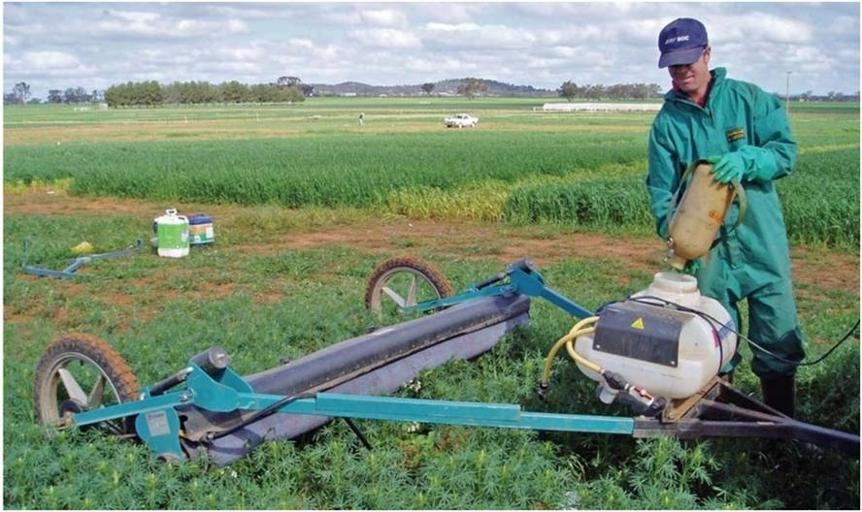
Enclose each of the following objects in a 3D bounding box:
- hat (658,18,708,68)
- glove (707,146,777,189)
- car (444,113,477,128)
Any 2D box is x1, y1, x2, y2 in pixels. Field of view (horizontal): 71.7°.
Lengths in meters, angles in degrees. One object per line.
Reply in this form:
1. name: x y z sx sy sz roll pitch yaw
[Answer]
1. hat: 2.320 -2.030 5.609 0.444 0.317 0.649 11 48 35
2. glove: 2.822 -0.822 5.394 0.737 0.310 0.176 -7 12 -22
3. car: 3.045 -12.707 56.867 1.760 1.027 3.335 9 16 33
